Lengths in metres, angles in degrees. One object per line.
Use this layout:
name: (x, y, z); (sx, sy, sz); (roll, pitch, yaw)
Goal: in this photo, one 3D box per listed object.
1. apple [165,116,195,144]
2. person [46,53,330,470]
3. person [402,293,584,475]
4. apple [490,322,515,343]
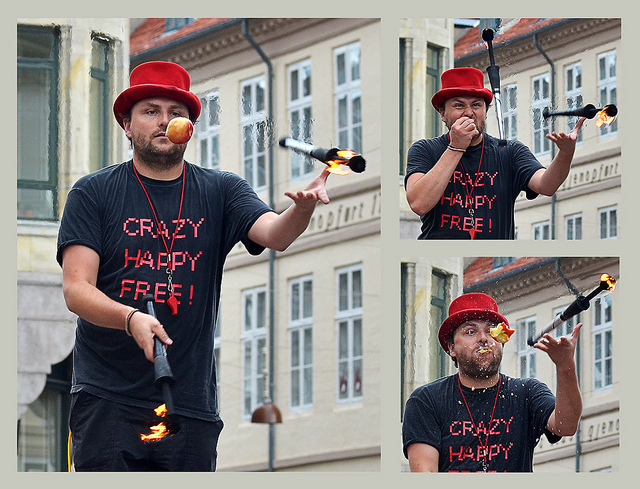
apple: (-0.986, -0.853, 15.125); (0.192, 0.181, 0.225); (-8, -12, -44)
person: (-1.147, 0.165, 15.431); (1.590, 3.059, 0.920); (0, -3, -7)
person: (1.349, 1.309, 16.189); (1.446, 1.878, 1.056); (-5, -17, 10)
apple: (1.398, 0.702, 16.318); (0.157, 0.132, 0.097); (-33, -34, 21)
